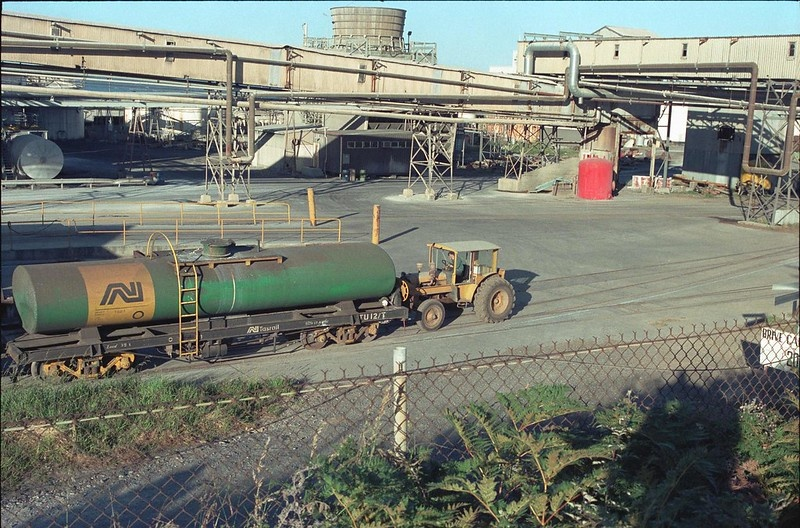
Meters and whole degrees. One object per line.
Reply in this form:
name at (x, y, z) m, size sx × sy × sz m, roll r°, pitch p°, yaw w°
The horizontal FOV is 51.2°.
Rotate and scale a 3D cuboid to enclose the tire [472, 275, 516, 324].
tire at (3.174, 1.257, 28.914) m, size 1.273 × 1.306 × 0.431 m, roll -23°, pitch 25°, yaw -37°
